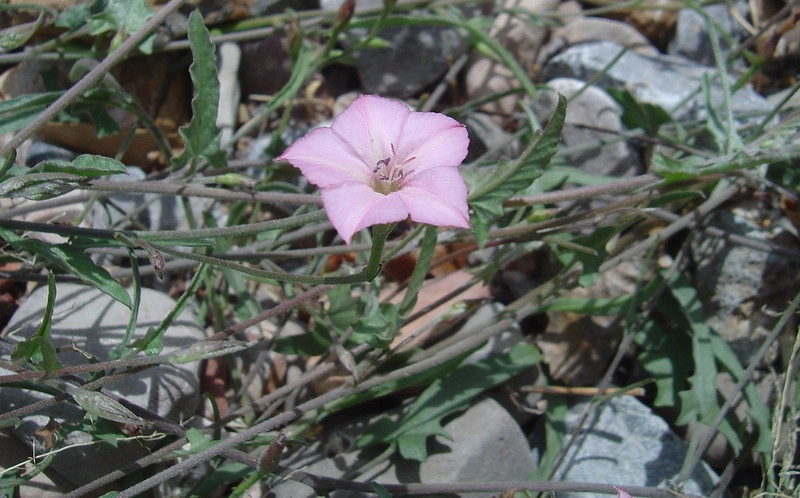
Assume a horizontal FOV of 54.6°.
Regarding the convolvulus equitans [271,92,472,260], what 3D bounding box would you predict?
[{"bbox_3d":[-0.073,-0.264,2.545,0.621,0.220,0.560,-4,44,-9],"label":"convolvulus equitans"}]
